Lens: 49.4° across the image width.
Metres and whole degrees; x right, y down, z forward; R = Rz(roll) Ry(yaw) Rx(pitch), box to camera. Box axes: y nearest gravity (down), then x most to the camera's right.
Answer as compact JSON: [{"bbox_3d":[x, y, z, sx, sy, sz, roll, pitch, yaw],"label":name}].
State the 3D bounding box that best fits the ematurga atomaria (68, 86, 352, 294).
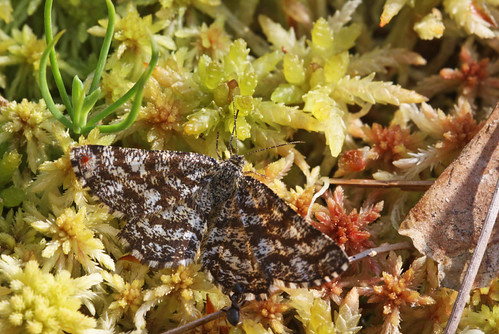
[{"bbox_3d":[-0.219,0.247,2.611,1.317,0.455,0.697,4,80,-3],"label":"ematurga atomaria"}]
